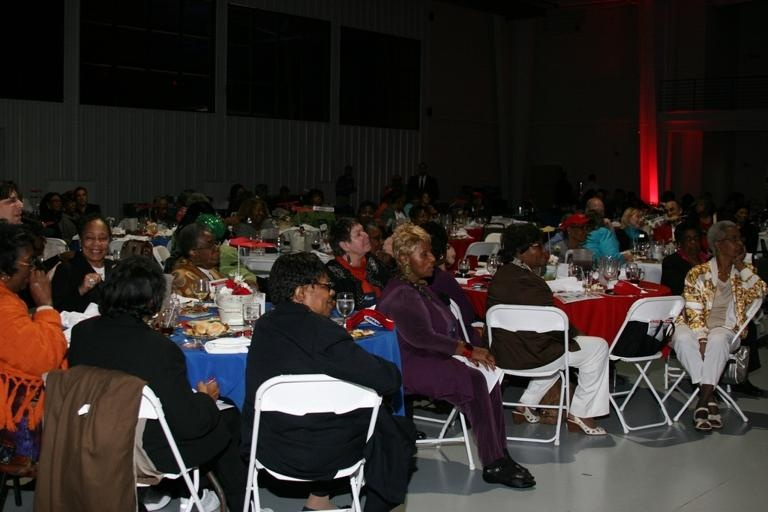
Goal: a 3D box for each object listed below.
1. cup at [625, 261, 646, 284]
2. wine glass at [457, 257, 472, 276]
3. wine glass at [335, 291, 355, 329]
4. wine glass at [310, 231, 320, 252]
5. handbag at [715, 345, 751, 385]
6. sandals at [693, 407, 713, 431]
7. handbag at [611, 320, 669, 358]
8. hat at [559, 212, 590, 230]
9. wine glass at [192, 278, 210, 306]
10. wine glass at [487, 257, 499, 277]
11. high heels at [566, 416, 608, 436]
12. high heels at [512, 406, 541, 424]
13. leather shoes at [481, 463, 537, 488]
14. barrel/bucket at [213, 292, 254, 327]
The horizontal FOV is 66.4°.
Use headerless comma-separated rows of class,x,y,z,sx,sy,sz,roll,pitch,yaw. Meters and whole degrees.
cup,2.418,0.146,5.564,0.225,0.253,0.156,0,-1,8
wine glass,0.790,0.108,5.783,0.153,0.274,0.161,1,-2,1
wine glass,-0.248,0.335,3.729,0.095,0.218,0.366,0,10,-5
wine glass,-0.967,-0.216,8.344,0.182,0.332,0.311,0,0,-20
handbag,2.997,0.897,5.077,0.240,0.385,0.376,0,5,43
sandals,2.564,1.315,4.716,0.081,0.077,0.245,-2,5,10
handbag,2.026,0.655,4.624,0.290,0.179,0.389,0,-8,-19
hat,2.112,-0.384,6.641,0.310,0.137,0.223,-17,-11,37
wine glass,-1.291,0.257,4.145,0.104,0.216,0.339,-3,11,-18
wine glass,1.073,0.111,5.881,0.153,0.208,0.218,-1,7,1
high heels,1.585,1.340,4.644,0.332,0.156,0.128,-2,2,12
high heels,1.168,1.304,4.850,0.244,0.108,0.108,-3,1,-13
leather shoes,0.820,1.424,3.877,0.294,0.132,0.173,0,9,26
barrel/bucket,-0.956,0.327,3.766,0.185,0.157,0.195,1,7,0
